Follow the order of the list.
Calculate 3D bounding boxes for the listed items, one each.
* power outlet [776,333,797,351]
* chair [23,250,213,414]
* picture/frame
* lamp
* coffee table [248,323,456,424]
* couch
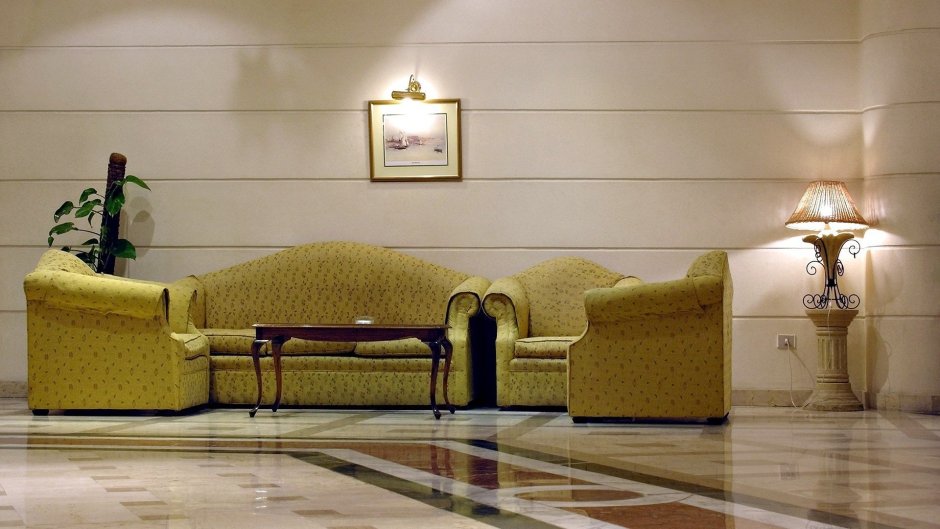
[{"bbox_3d":[3.338,0.809,8.369,0.290,0.223,0.143,0,-2,8],"label":"power outlet"},{"bbox_3d":[-3.502,0.661,8.022,1.751,1.450,1.854,4,-6,-29],"label":"chair"},{"bbox_3d":[-0.566,-1.346,8.612,1.007,0.789,0.071,0,-4,-1],"label":"picture/frame"},{"bbox_3d":[3.696,-0.210,8.194,0.802,1.316,0.473,1,3,20],"label":"lamp"},{"bbox_3d":[-1.094,0.970,7.501,1.783,0.798,0.703,0,-4,-3],"label":"coffee table"},{"bbox_3d":[-1.478,0.602,8.183,3.175,1.554,0.959,-1,4,-3],"label":"couch"}]
